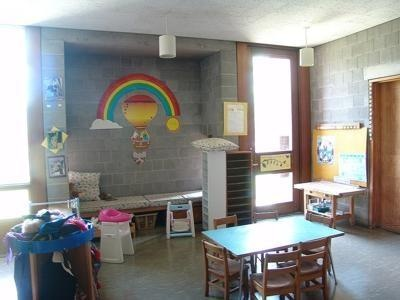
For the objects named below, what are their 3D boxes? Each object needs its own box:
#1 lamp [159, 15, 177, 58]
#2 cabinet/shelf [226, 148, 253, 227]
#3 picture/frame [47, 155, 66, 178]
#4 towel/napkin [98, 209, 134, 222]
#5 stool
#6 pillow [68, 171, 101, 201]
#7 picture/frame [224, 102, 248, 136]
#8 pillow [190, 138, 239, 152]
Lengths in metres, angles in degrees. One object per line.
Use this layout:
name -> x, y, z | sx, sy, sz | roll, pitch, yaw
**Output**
lamp -> -0.596, -1.936, 5.743 | 0.257, 0.729, 0.918 | -3, 4, -6
cabinet/shelf -> 0.827, 0.780, 6.858 | 0.532, 1.457, 0.188 | 0, 10, 8
picture/frame -> -2.660, 0.307, 5.954 | 0.421, 0.492, 0.051 | -2, 1, -27
towel/napkin -> -1.456, 1.132, 5.510 | 0.381, 0.125, 0.291 | -2, -1, 24
stool -> -1.498, 1.605, 5.755 | 0.467, 0.621, 0.670 | -2, -10, 6
pillow -> -2.428, 0.762, 6.709 | 0.663, 0.618, 0.233 | -1, -6, -25
picture/frame -> 0.753, -0.693, 7.100 | 0.773, 0.910, 0.060 | -1, 1, -30
pillow -> 0.307, -0.097, 6.577 | 0.893, 0.255, 0.367 | -3, 4, 2
